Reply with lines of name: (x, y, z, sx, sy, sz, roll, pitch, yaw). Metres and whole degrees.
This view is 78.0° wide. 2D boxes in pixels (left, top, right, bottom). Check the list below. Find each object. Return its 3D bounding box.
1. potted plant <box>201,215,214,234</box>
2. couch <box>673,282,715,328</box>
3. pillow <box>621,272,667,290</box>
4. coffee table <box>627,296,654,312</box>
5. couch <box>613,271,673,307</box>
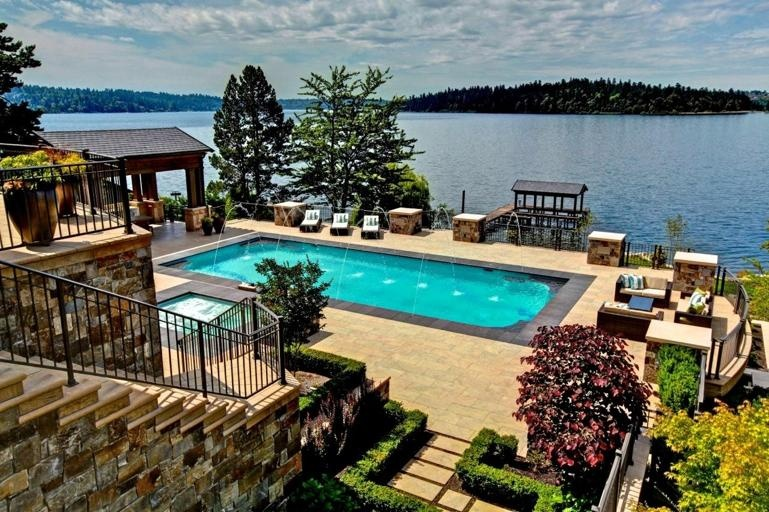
potted plant: (-9.334, -1.538, 25.170, 0.501, 0.883, 0.477, -8, 16, -28)
couch: (9.763, 1.604, 14.958, 0.925, 0.860, 1.569, 9, 16, 34)
pillow: (9.287, 0.922, 17.181, 1.415, 0.526, 0.536, 3, 56, 14)
coffee table: (8.148, 1.536, 15.214, 0.646, 0.141, 0.645, 15, 36, 40)
couch: (9.282, 1.227, 17.154, 1.735, 0.882, 0.948, 9, 22, 27)
